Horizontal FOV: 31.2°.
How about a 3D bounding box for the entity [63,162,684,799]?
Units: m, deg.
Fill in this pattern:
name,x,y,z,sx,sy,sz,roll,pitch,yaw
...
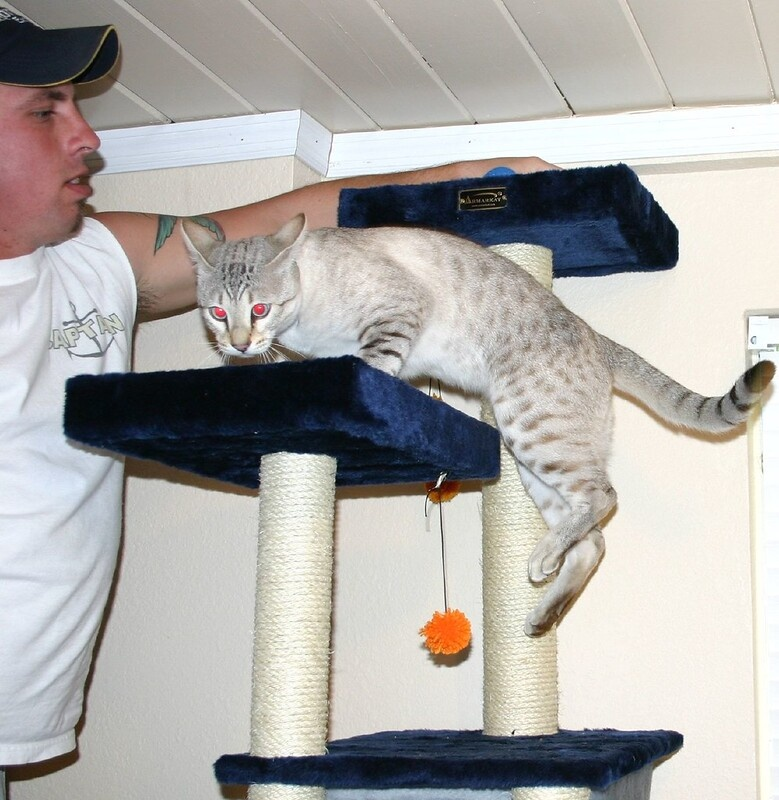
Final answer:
name,x,y,z,sx,sy,sz,roll,pitch,yaw
entity,0.016,0.173,2.784,1.669,0.950,0.931,-2,-5,18
